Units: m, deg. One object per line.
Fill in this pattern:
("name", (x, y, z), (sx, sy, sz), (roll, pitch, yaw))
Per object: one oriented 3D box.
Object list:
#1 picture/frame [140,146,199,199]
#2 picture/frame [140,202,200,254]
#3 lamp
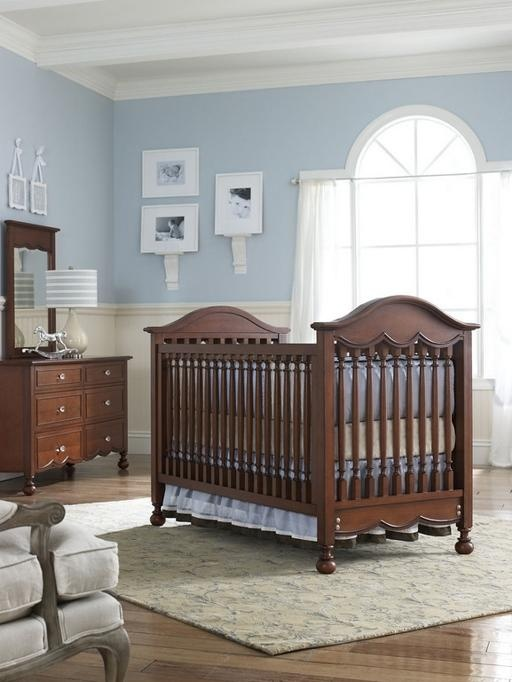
("picture/frame", (-0.621, -1.231, 5.239), (0.411, 0.338, 0.018), (1, 2, 12))
("picture/frame", (-0.615, -0.820, 5.226), (0.398, 0.325, 0.033), (0, -1, 21))
("lamp", (-1.180, -0.181, 4.501), (0.297, 0.559, 0.432), (0, -2, -17))
